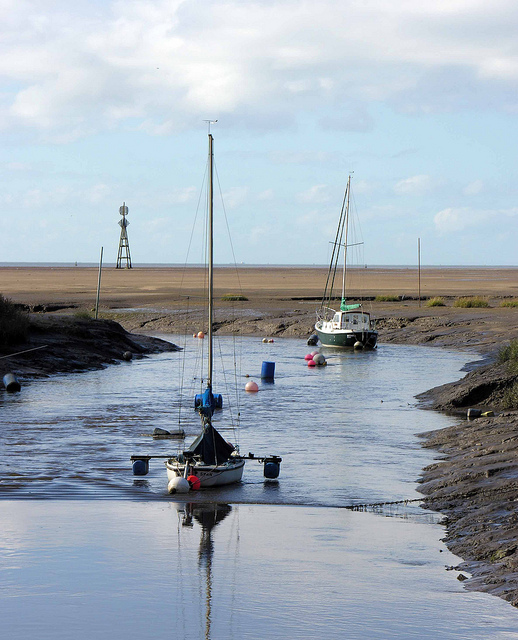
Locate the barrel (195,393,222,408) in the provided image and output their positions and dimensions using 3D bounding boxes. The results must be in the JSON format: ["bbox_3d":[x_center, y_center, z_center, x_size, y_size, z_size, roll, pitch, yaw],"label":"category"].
[{"bbox_3d":[-1.195,1.858,33.921,0.536,0.423,0.341,-1,-40,9],"label":"barrel"}]

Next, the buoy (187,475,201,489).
[{"bbox_3d":[-1.237,3.032,27.574,0.225,0.241,0.223,2,0,-6],"label":"buoy"}]

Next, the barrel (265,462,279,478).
[{"bbox_3d":[0.219,2.887,28.298,0.233,0.249,0.269,0,-1,3],"label":"barrel"}]

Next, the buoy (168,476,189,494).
[{"bbox_3d":[-1.519,3.050,27.146,0.258,0.290,0.339,3,26,13],"label":"buoy"}]

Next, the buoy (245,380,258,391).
[{"bbox_3d":[-0.268,1.931,43.579,0.263,0.206,0.271,1,-6,-6],"label":"buoy"}]

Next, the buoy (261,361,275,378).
[{"bbox_3d":[0.250,1.615,47.929,0.445,0.517,0.460,0,4,4],"label":"buoy"}]

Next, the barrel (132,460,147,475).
[{"bbox_3d":[-2.340,2.872,28.805,0.314,0.329,0.232,0,-3,-2],"label":"barrel"}]

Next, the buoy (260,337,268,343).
[{"bbox_3d":[0.201,0.872,66.443,0.186,0.128,0.225,-4,-14,23],"label":"buoy"}]

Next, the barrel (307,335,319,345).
[{"bbox_3d":[2.353,0.877,65.739,0.369,0.421,0.978,2,6,13],"label":"barrel"}]

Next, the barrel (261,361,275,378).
[{"bbox_3d":[0.244,1.603,47.919,0.447,0.504,0.459,0,4,4],"label":"barrel"}]

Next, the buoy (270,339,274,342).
[{"bbox_3d":[0.519,0.910,67.161,0.138,0.132,0.140,0,6,8],"label":"buoy"}]

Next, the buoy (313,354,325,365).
[{"bbox_3d":[2.152,1.461,54.177,0.356,0.439,0.361,-6,16,-18],"label":"buoy"}]
